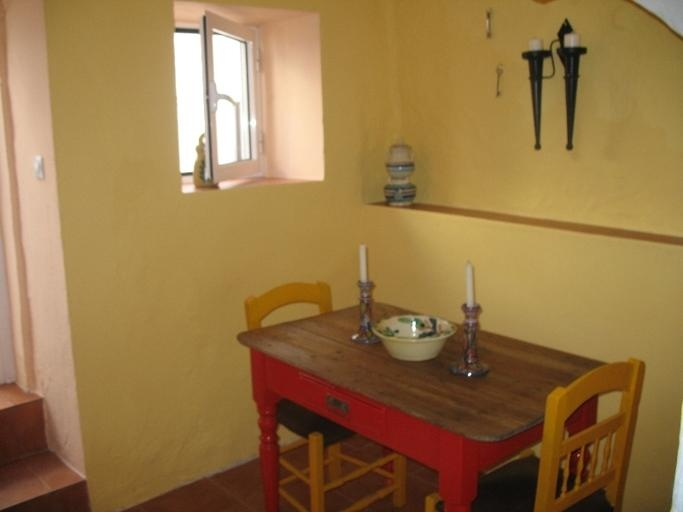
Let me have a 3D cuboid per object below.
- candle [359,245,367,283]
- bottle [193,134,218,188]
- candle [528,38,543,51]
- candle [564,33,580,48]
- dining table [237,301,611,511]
[{"bbox_3d":[0.091,0.031,2.562,0.032,0.160,0.089,-3,10,0],"label":"candle"},{"bbox_3d":[-0.711,-0.491,3.173,0.121,0.283,0.249,-6,10,-14],"label":"bottle"},{"bbox_3d":[0.890,-0.962,2.799,0.060,0.049,0.063,-3,13,-9],"label":"candle"},{"bbox_3d":[1.015,-0.951,2.695,0.064,0.051,0.064,-7,12,-32],"label":"candle"},{"bbox_3d":[0.311,0.122,2.315,0.712,0.934,1.173,-11,16,-38],"label":"dining table"}]
